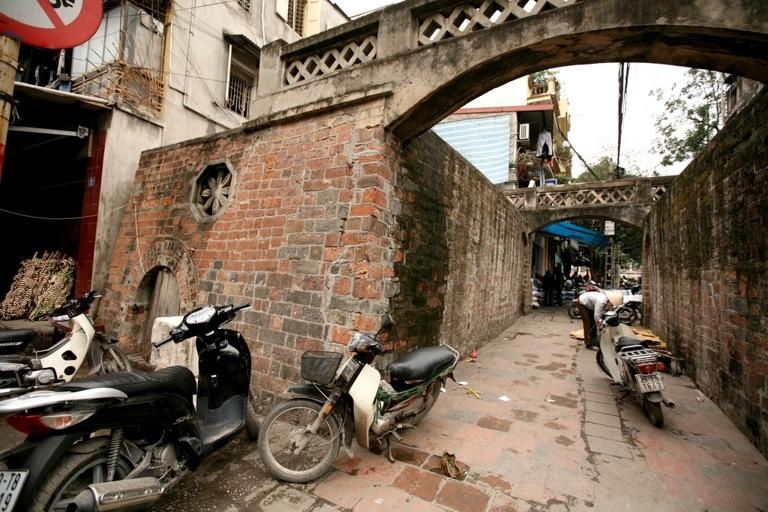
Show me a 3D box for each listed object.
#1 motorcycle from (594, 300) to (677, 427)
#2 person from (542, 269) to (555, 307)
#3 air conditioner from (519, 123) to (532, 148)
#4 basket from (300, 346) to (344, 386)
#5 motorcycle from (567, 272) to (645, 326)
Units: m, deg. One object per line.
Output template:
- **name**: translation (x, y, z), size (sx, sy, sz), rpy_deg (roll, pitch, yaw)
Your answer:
- **motorcycle**: translation (3.829, 1.643, 7.678), size (0.616, 1.560, 1.371), rpy_deg (1, -2, 4)
- **person**: translation (6.220, 1.183, 19.055), size (0.348, 1.313, 0.818), rpy_deg (0, -2, 27)
- **air conditioner**: translation (4.879, -4.352, 17.541), size (0.326, 0.611, 0.690), rpy_deg (0, -2, 19)
- **basket**: translation (-0.740, 1.318, 6.184), size (0.604, 0.445, 0.346), rpy_deg (4, -23, 5)
- **motorcycle**: translation (5.848, 1.113, 13.222), size (2.249, 1.401, 1.203), rpy_deg (3, -9, 7)
